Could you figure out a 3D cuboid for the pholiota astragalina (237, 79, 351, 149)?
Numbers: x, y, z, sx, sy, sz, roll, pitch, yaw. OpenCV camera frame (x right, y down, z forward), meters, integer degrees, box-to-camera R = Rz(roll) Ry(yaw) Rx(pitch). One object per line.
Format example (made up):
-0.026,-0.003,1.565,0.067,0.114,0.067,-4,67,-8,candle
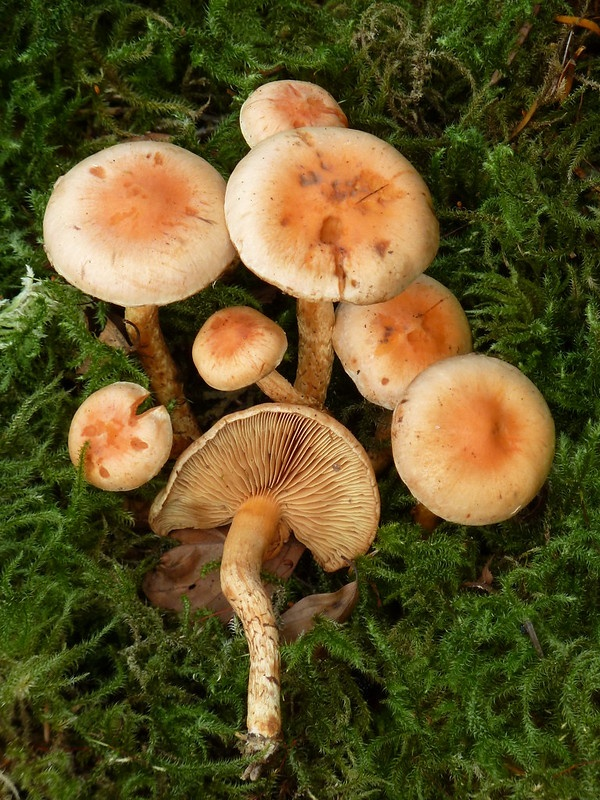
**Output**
-0.065,-1.056,3.046,0.339,0.093,0.345,46,56,0,pholiota astragalina

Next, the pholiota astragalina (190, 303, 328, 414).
-0.164,-0.156,3.154,0.316,0.498,0.263,28,81,28,pholiota astragalina

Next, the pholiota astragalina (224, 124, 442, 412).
0.104,-0.635,2.742,0.701,0.166,0.661,-14,80,-4,pholiota astragalina
